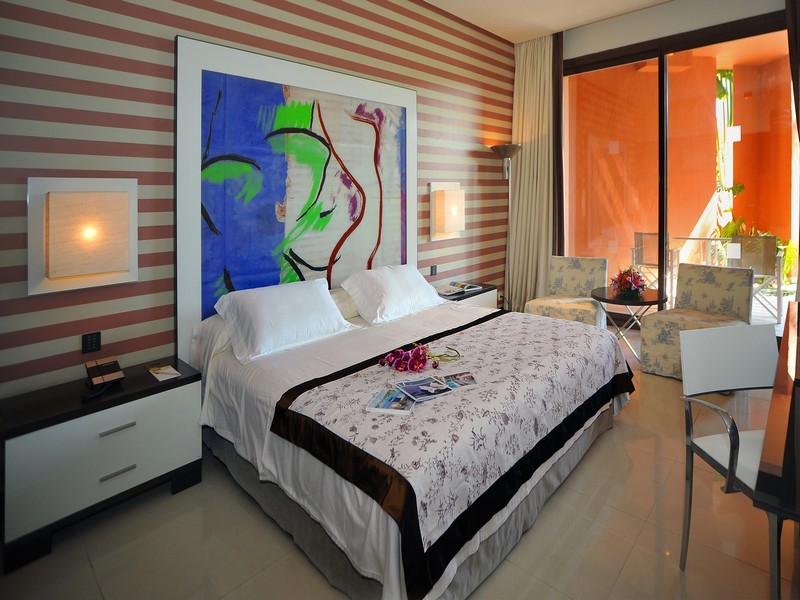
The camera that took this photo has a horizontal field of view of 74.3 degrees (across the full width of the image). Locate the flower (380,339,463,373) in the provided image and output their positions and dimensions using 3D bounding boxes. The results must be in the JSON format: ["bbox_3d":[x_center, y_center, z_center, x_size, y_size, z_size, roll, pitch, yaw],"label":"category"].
[{"bbox_3d":[0.152,0.379,3.417,0.213,0.132,0.376,-1,2,30],"label":"flower"}]

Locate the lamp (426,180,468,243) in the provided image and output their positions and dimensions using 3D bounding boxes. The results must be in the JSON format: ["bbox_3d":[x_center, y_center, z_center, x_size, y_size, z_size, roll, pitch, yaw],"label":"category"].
[{"bbox_3d":[0.460,-0.922,5.442,0.625,0.869,0.227,-2,5,-43],"label":"lamp"}]

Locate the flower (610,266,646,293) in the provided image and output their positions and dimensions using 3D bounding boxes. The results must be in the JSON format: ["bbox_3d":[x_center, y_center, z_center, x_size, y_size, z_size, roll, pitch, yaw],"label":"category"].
[{"bbox_3d":[2.183,-0.171,5.067,0.258,0.182,0.270,2,12,33],"label":"flower"}]

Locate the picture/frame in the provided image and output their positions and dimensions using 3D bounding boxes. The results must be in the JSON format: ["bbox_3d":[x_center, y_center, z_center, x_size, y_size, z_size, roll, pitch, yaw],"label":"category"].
[{"bbox_3d":[-0.864,-0.764,4.054,0.051,2.806,2.543,4,5,43],"label":"picture/frame"}]

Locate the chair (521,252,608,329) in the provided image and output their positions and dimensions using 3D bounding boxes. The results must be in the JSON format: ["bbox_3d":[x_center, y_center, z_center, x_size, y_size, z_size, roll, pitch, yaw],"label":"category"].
[{"bbox_3d":[1.819,-0.133,5.621,0.722,1.119,0.782,4,5,34],"label":"chair"}]

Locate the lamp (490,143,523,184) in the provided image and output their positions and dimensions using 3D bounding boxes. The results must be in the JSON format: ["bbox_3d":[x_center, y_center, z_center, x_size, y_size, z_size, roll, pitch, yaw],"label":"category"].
[{"bbox_3d":[1.228,-1.575,6.111,0.360,0.442,0.383,-2,10,1],"label":"lamp"}]
